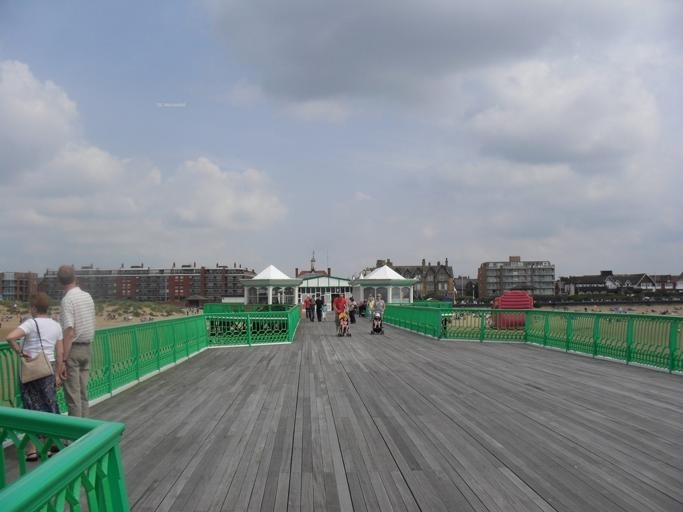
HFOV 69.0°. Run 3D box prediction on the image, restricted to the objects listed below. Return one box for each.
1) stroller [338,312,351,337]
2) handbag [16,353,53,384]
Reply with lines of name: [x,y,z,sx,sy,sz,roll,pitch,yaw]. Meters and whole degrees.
stroller: [0.107,3.136,22.625,0.547,1.074,1.199,1,-4,0]
handbag: [-3.833,1.420,6.233,0.323,0.295,0.129,-19,2,-30]
